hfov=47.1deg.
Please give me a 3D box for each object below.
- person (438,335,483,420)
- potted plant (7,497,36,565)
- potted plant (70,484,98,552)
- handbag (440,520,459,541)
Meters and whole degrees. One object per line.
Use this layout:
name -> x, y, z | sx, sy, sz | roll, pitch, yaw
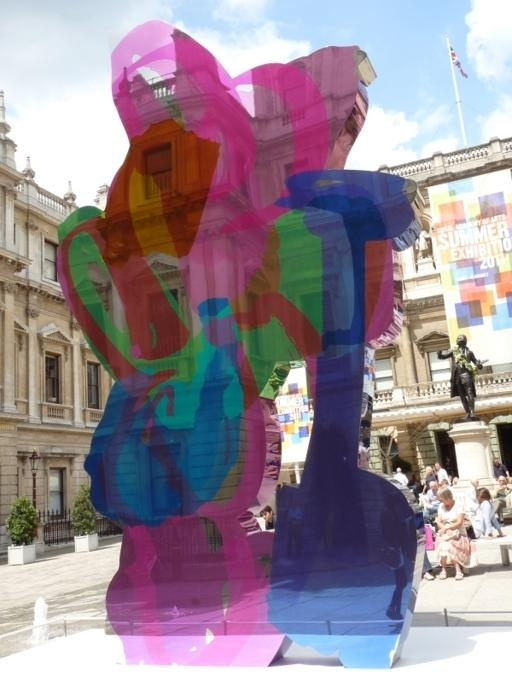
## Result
person -> 5.688, 0.983, 16.187 | 0.994, 2.398, 1.463 | -7, -9, 10
potted plant -> -7.664, 6.279, 19.186 | 0.947, 2.014, 1.506 | -2, -9, -21
potted plant -> -6.094, 6.364, 20.767 | 0.814, 2.298, 2.096 | -3, -9, -17
handbag -> 2.671, 2.601, 8.106 | 0.231, 0.259, 0.294 | 1, 10, 12
